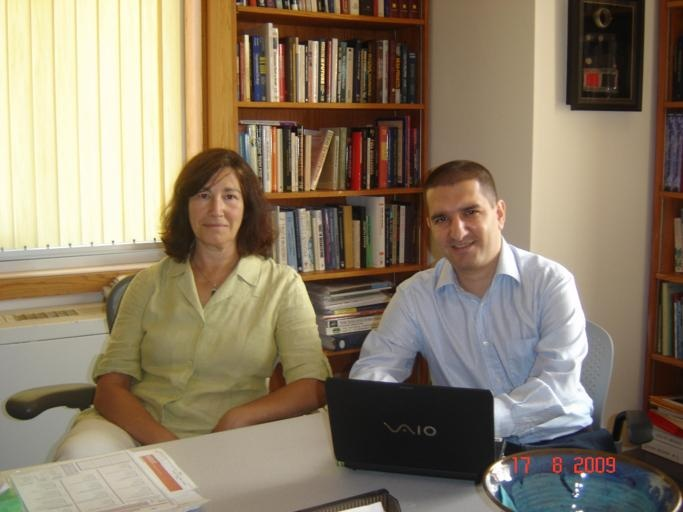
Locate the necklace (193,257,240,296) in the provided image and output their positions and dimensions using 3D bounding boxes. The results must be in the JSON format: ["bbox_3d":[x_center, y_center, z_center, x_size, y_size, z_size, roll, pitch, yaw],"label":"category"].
[{"bbox_3d":[-0.469,0.071,2.032,0.119,0.064,0.164,4,40,-3],"label":"necklace"}]

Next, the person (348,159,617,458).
[{"bbox_3d":[0.402,0.218,1.804,0.745,1.013,0.726,-7,-10,26],"label":"person"}]

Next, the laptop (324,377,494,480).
[{"bbox_3d":[0.166,0.388,1.272,0.341,0.233,0.249,1,15,18],"label":"laptop"}]
